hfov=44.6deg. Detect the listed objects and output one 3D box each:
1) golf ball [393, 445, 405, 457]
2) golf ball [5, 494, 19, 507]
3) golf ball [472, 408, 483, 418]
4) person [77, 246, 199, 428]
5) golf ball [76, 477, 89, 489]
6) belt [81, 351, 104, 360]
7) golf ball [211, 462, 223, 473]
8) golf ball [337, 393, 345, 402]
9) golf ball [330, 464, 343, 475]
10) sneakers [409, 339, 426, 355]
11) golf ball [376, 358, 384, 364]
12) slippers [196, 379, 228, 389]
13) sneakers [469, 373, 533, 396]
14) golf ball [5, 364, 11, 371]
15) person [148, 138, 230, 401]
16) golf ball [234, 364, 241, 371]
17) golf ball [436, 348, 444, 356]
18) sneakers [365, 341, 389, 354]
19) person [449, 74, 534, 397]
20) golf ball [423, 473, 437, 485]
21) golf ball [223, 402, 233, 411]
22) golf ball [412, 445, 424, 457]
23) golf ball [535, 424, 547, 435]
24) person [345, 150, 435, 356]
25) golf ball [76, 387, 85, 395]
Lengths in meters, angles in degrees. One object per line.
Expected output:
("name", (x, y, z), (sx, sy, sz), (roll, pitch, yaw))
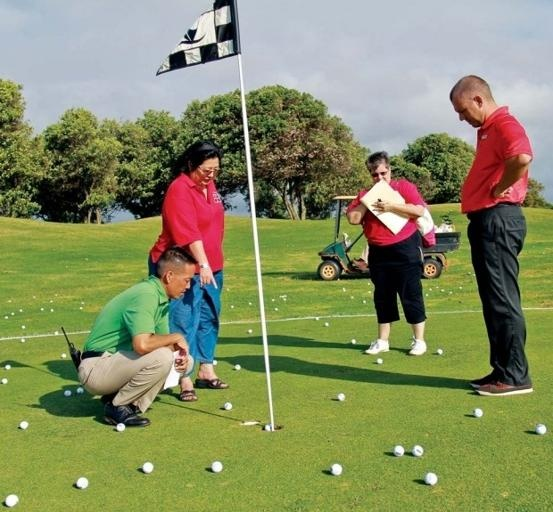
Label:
("golf ball", (0.740, 1.192, 4.136), (0.062, 0.051, 0.060), (-5, -15, -1))
("golf ball", (-1.441, 1.316, 3.660), (0.067, 0.029, 0.060), (4, 4, 14))
("golf ball", (1.434, 1.107, 4.783), (0.064, 0.053, 0.058), (1, 11, 14))
("person", (-1.017, 0.535, 5.057), (0.863, 1.283, 0.588), (0, 1, 32))
("golf ball", (-1.119, 1.290, 3.857), (0.060, 0.032, 0.065), (3, -1, 0))
("belt", (-1.408, 0.742, 5.113), (0.127, 0.041, 0.086), (-5, 7, 32))
("golf ball", (-0.364, 1.252, 4.023), (0.065, 0.053, 0.060), (13, 9, -2))
("golf ball", (0.506, 1.119, 5.332), (0.058, 0.045, 0.044), (-1, 0, 38))
("golf ball", (0.347, 1.230, 3.909), (0.065, 0.028, 0.058), (-1, 1, 3))
("sneakers", (1.443, 0.919, 6.881), (0.175, 0.157, 0.250), (-1, 4, 12))
("golf ball", (1.001, 1.020, 6.544), (0.041, 0.026, 0.043), (2, 5, 0))
("slippers", (-0.583, 1.129, 5.976), (0.285, 0.061, 0.101), (-1, -1, 22))
("sneakers", (1.753, 1.015, 5.335), (0.492, 0.152, 0.160), (2, -10, 1))
("golf ball", (-2.699, 1.108, 6.744), (0.058, 0.025, 0.052), (0, -3, -2))
("person", (-0.631, 0.028, 5.896), (0.853, 2.310, 0.756), (-4, 11, -38))
("golf ball", (-0.385, 1.090, 6.606), (0.043, 0.036, 0.045), (26, -1, 1))
("golf ball", (1.653, 0.970, 6.819), (0.048, 0.054, 0.054), (-26, -11, 5))
("sneakers", (1.039, 0.943, 7.007), (0.106, 0.096, 0.291), (-7, -8, 40))
("person", (1.784, -0.201, 5.440), (0.805, 2.396, 1.110), (2, 5, 17))
("golf ball", (0.859, 1.237, 3.766), (0.067, 0.053, 0.058), (-5, -1, 3))
("golf ball", (-0.385, 1.164, 5.250), (0.058, 0.029, 0.051), (1, 4, 7))
("golf ball", (0.861, 1.190, 4.122), (0.069, 0.056, 0.062), (-11, 9, -3))
("golf ball", (1.716, 1.121, 4.380), (0.058, 0.048, 0.063), (-2, 0, 0))
("person", (1.272, 0.004, 7.178), (1.043, 2.445, 0.987), (0, 1, 21))
("golf ball", (-1.705, 1.163, 5.828), (0.053, 0.048, 0.049), (0, -10, 0))
